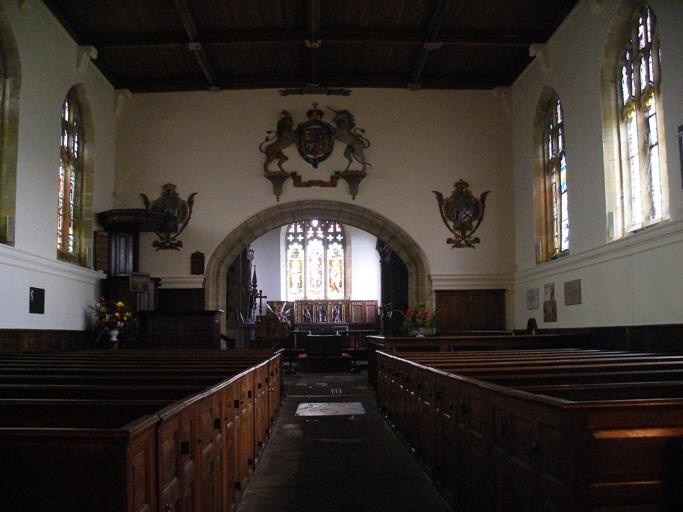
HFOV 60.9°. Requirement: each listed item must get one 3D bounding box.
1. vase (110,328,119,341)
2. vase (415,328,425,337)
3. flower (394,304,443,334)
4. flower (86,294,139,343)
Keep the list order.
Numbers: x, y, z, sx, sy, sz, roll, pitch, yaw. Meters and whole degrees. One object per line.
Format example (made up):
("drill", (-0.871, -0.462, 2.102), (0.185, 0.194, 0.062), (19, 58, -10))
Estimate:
("vase", (-4.657, 1.581, 11.893), (0.173, 0.271, 0.211), (1, -5, -26))
("vase", (1.556, 1.496, 11.555), (0.142, 0.159, 0.142), (1, 1, -4))
("flower", (1.615, 1.507, 12.122), (0.830, 0.741, 1.004), (-2, 0, 15))
("flower", (-4.893, 1.354, 12.278), (0.941, 1.268, 0.903), (0, 0, -6))
